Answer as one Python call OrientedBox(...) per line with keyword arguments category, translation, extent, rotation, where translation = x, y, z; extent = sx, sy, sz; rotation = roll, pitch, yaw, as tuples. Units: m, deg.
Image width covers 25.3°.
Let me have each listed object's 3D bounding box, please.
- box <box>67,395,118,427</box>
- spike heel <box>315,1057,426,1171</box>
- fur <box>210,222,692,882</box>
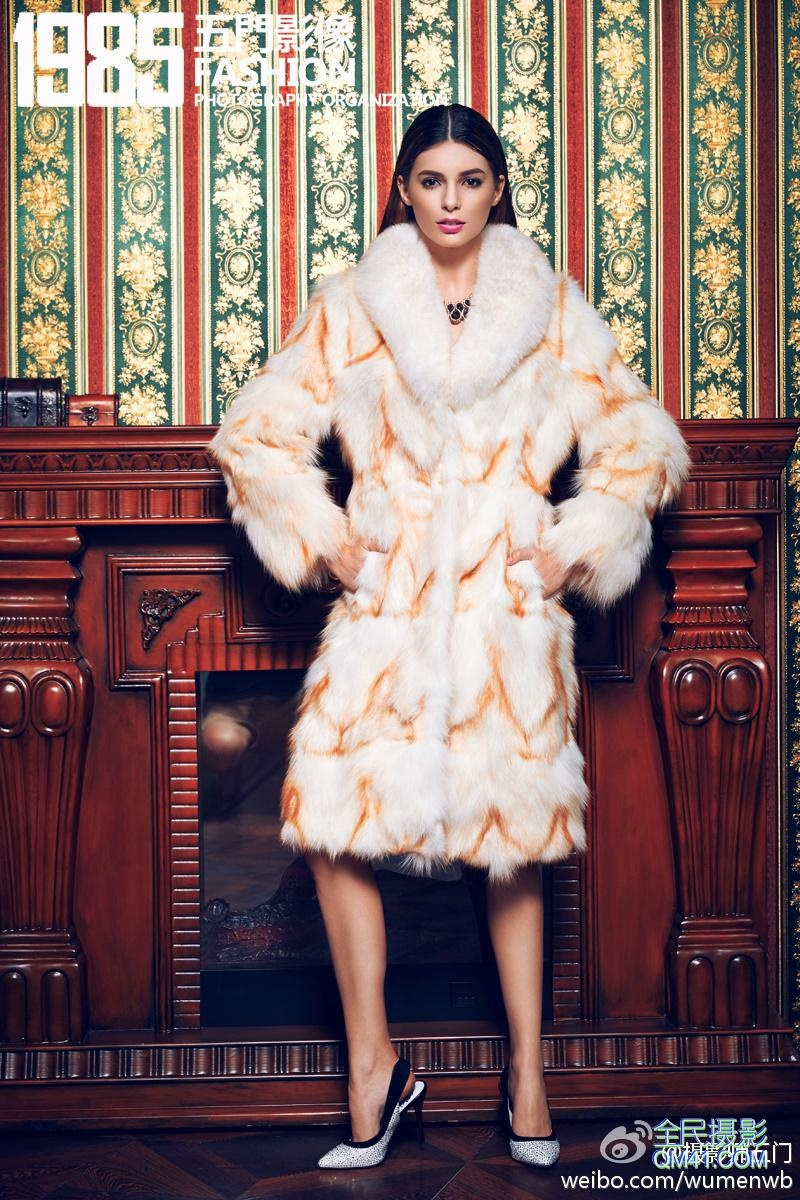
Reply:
OrientedBox(category="box", translation=(-0.602, -0.347, 3.483), extent=(0.122, 0.073, 0.085), rotation=(-1, -2, -9))
OrientedBox(category="spike heel", translation=(-0.012, 0.890, 3.105), extent=(0.263, 0.162, 0.104), rotation=(-5, -6, -26))
OrientedBox(category="fur", translation=(0.103, -0.085, 3.081), extent=(0.827, 1.091, 0.276), rotation=(-4, 2, -6))
